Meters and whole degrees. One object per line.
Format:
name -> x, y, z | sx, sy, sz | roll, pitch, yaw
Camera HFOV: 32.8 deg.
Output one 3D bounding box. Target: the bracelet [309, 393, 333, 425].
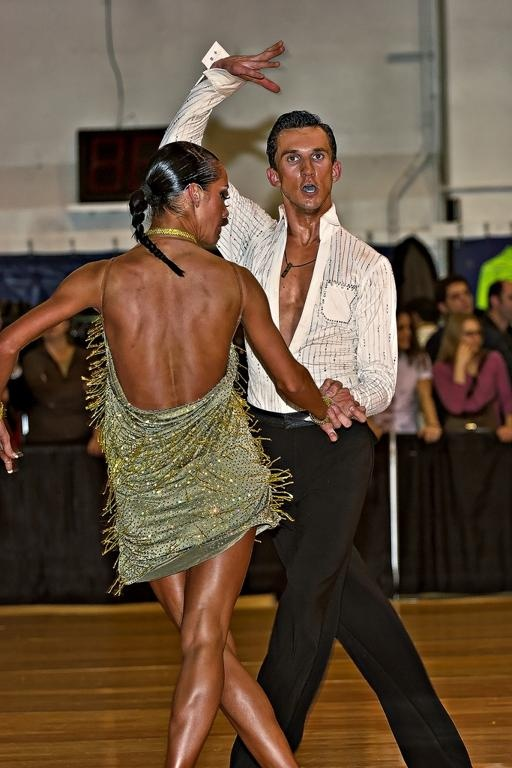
bracelet -> 0.135, 0.054, 1.940 | 0.059, 0.060, 0.025 | -19, 4, -25
